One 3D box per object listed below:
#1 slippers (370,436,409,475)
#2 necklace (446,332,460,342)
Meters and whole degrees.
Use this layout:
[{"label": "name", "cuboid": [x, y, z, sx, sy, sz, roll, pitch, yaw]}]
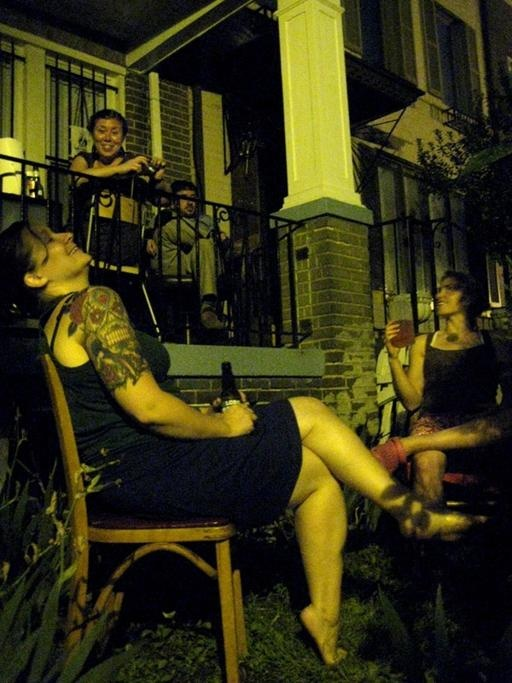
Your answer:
[{"label": "slippers", "cuboid": [0.544, 0.474, 2.607, 0.171, 0.131, 0.077, -40, -14, -4]}, {"label": "necklace", "cuboid": [1.044, -0.022, 3.349, 0.050, 0.047, 0.012, -7, -21, 36]}]
